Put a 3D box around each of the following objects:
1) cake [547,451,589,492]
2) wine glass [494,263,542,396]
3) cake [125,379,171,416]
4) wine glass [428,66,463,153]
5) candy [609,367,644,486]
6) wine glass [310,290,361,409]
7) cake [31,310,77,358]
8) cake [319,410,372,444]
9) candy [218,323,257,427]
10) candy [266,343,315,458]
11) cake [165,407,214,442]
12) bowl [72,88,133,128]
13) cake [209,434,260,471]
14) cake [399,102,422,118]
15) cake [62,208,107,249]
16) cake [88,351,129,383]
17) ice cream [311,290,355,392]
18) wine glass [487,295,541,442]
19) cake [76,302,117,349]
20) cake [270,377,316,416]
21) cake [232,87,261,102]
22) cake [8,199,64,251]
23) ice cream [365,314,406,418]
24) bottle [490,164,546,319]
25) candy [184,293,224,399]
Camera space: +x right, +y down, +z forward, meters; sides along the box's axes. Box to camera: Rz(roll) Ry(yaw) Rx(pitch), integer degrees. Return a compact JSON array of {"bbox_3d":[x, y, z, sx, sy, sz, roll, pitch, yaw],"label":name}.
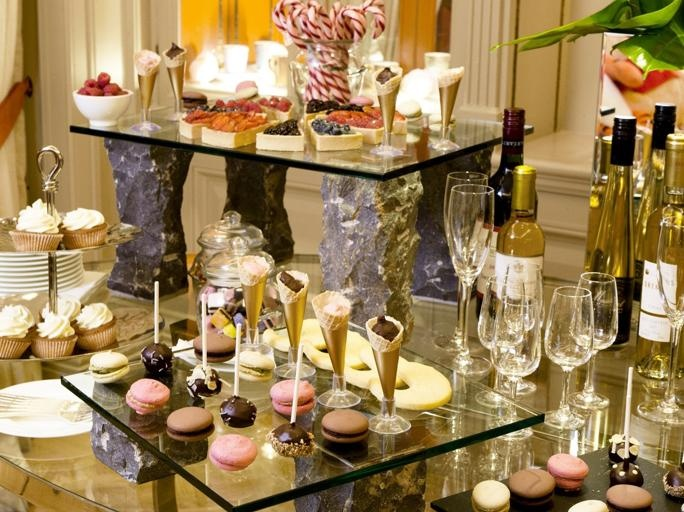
[{"bbox_3d":[0.323,0.310,0.868,0.053,0.039,0.053,-6,16,-31],"label":"cake"},{"bbox_3d":[0.284,0.138,0.983,0.098,0.259,0.098,0,2,19],"label":"wine glass"},{"bbox_3d":[-0.297,0.214,0.924,0.066,0.036,0.053,-1,12,0],"label":"cake"},{"bbox_3d":[0.256,-0.363,1.477,0.081,0.177,0.075,11,14,26],"label":"wine glass"},{"bbox_3d":[0.411,0.231,0.852,0.044,0.187,0.121,5,13,26],"label":"candy"},{"bbox_3d":[-0.005,0.140,0.907,0.068,0.152,0.063,-9,8,-29],"label":"wine glass"},{"bbox_3d":[-0.626,0.176,1.309,0.082,0.086,0.092,2,4,-19],"label":"cake"},{"bbox_3d":[0.008,0.234,0.843,0.064,0.031,0.074,6,13,28],"label":"cake"},{"bbox_3d":[-0.157,0.178,0.906,0.053,0.128,0.093,-2,12,-9],"label":"candy"},{"bbox_3d":[-0.072,0.182,0.839,0.059,0.143,0.133,-2,12,-8],"label":"candy"},{"bbox_3d":[-0.217,0.240,0.871,0.067,0.026,0.060,-7,13,-29],"label":"cake"},{"bbox_3d":[-0.660,-0.413,1.671,0.158,0.096,0.159,4,18,-1],"label":"bowl"},{"bbox_3d":[-0.140,0.259,0.804,0.066,0.022,0.065,-9,14,-36],"label":"cake"},{"bbox_3d":[0.200,-0.428,1.769,0.069,0.024,0.069,-3,33,-2],"label":"cake"},{"bbox_3d":[-0.569,-0.064,1.361,0.093,0.089,0.096,0,7,1],"label":"cake"},{"bbox_3d":[-0.390,0.185,1.013,0.060,0.045,0.062,3,11,-2],"label":"cake"},{"bbox_3d":[-0.015,0.130,0.940,0.055,0.160,0.148,-1,12,-2],"label":"ice cream"},{"bbox_3d":[0.271,0.149,0.939,0.070,0.163,0.116,3,12,17],"label":"wine glass"},{"bbox_3d":[-0.539,0.156,1.343,0.078,0.086,0.080,-20,15,-21],"label":"cake"},{"bbox_3d":[-0.074,0.217,0.924,0.069,0.048,0.070,-3,5,-25],"label":"cake"},{"bbox_3d":[-0.287,-0.486,1.805,0.066,0.023,0.067,-8,17,4],"label":"cake"},{"bbox_3d":[-0.663,-0.055,1.315,0.097,0.095,0.093,3,-1,1],"label":"cake"},{"bbox_3d":[0.063,0.157,0.852,0.050,0.137,0.049,-2,13,10],"label":"ice cream"},{"bbox_3d":[0.354,-0.001,1.181,0.111,0.338,0.115,-3,19,1],"label":"bottle"},{"bbox_3d":[-0.222,0.146,0.981,0.073,0.167,0.069,0,-7,23],"label":"candy"}]
